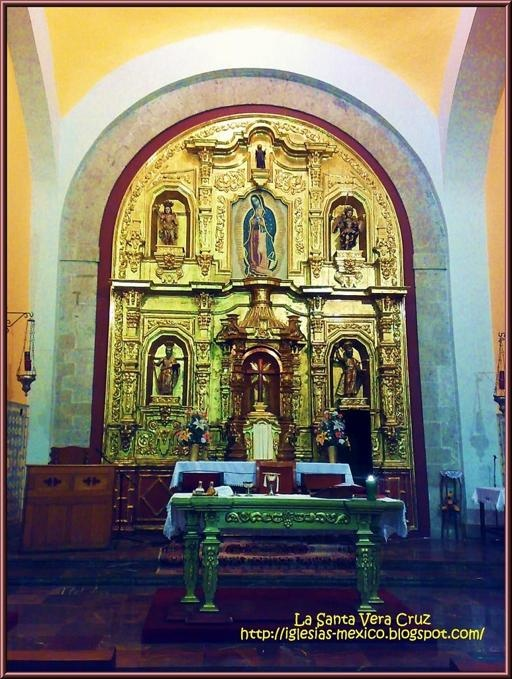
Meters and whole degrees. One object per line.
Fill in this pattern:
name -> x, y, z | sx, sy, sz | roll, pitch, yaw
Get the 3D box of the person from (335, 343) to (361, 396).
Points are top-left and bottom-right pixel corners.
person -> 1.362, 0.451, 10.974 | 0.381, 0.872, 0.328 | -2, -13, 5

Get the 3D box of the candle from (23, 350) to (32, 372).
candle -> -3.110, 0.303, 10.166 | 0.103, 0.300, 0.139 | 2, -13, -12

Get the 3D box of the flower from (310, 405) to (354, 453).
flower -> 0.939, 1.147, 9.589 | 0.558, 0.751, 0.534 | 7, -4, -39

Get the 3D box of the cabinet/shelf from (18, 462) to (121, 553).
cabinet/shelf -> -2.055, 1.940, 8.563 | 1.036, 0.944, 0.609 | -1, -17, 1

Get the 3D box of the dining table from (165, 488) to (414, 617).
dining table -> 0.241, 1.718, 6.087 | 1.881, 0.858, 0.792 | 2, -14, -5

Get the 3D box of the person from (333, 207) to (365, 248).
person -> 1.426, -1.695, 11.471 | 0.464, 0.752, 0.277 | -2, -13, 5

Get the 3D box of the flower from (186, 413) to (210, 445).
flower -> -0.688, 1.053, 8.793 | 0.267, 0.326, 0.411 | 0, -13, -5

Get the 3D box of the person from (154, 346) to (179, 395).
person -> -1.284, 0.439, 10.811 | 0.371, 0.785, 0.294 | 2, -13, -11
